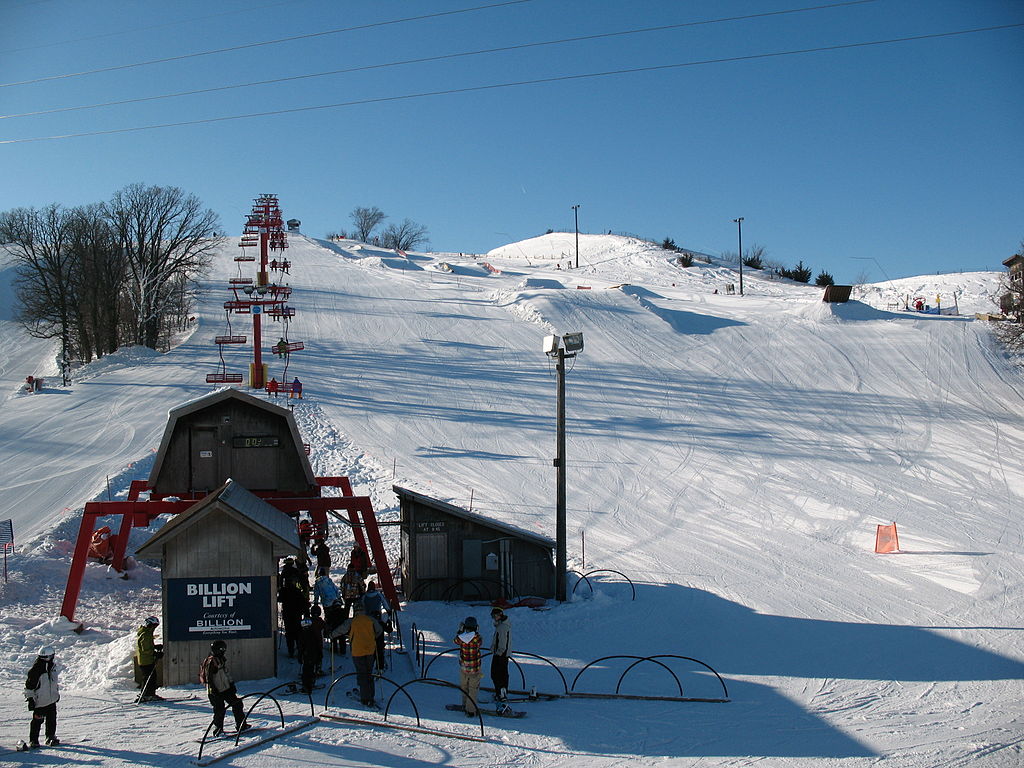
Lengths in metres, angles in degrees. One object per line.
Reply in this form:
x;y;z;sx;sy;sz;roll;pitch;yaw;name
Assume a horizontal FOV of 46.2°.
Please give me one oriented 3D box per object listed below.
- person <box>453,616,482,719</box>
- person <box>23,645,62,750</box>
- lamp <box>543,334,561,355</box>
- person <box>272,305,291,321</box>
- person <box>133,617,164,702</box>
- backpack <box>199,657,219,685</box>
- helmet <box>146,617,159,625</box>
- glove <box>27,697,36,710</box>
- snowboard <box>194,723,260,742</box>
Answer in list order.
-1.108;7.347;31.178;0.619;2.523;1.105;-2;-10;-3;person
-11.660;7.889;29.835;0.775;2.217;0.901;2;-10;-21;person
1.466;-1.306;39.305;0.799;0.751;0.798;0;-3;-7;lamp
-12.815;-3.962;66.849;1.293;0.807;1.170;1;8;-1;person
-9.652;7.338;31.949;0.724;2.166;1.203;1;-10;-16;person
-7.516;7.160;29.790;0.243;0.655;0.453;5;-12;-38;backpack
-9.689;6.408;32.275;0.325;0.167;0.418;12;-13;-36;helmet
-11.831;7.883;29.511;0.158;0.289;0.291;3;-10;-26;glove
-6.951;8.700;29.663;1.756;0.236;0.506;0;10;7;snowboard
